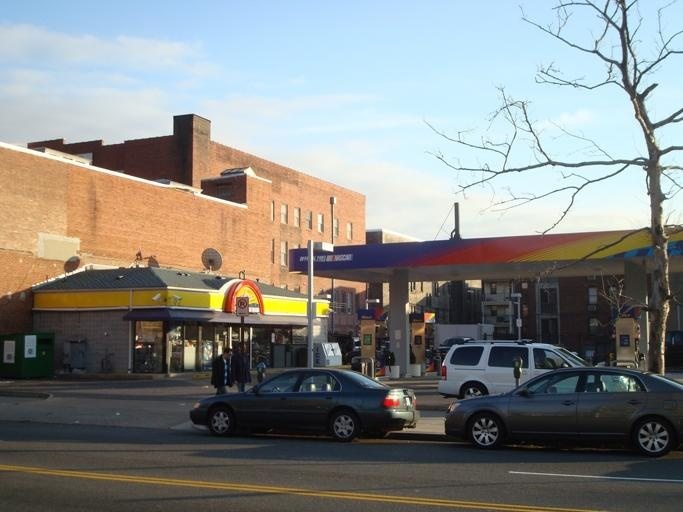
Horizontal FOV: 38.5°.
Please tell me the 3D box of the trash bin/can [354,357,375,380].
[{"bbox_3d":[0.759,4.067,35.374,0.700,0.844,0.843,-2,-4,15],"label":"trash bin/can"}]
